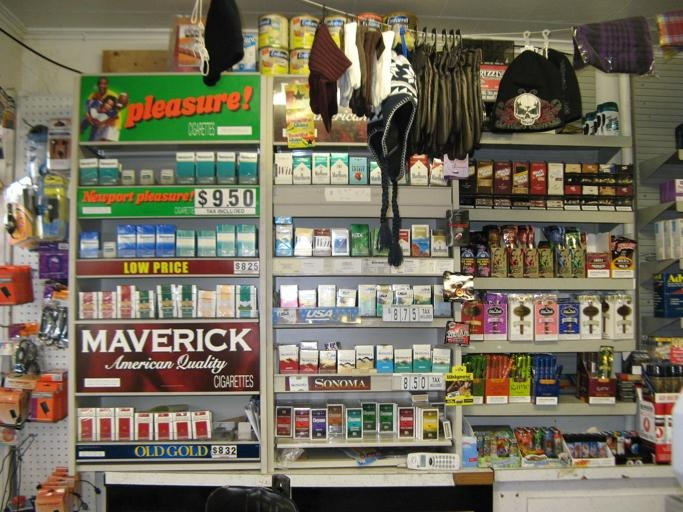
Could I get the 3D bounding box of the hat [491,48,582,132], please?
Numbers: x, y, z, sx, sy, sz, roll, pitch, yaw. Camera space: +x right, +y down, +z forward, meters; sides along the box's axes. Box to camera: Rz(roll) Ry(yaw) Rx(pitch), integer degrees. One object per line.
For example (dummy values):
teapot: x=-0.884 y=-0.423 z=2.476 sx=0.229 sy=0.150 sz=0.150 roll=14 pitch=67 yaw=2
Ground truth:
hat: x=1.568 y=-1.284 z=7.683 sx=0.628 sy=0.645 sz=0.171 roll=-5 pitch=4 yaw=8

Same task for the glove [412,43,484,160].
glove: x=0.758 y=-1.119 z=7.062 sx=0.577 sy=0.847 sz=0.273 roll=-6 pitch=7 yaw=4
